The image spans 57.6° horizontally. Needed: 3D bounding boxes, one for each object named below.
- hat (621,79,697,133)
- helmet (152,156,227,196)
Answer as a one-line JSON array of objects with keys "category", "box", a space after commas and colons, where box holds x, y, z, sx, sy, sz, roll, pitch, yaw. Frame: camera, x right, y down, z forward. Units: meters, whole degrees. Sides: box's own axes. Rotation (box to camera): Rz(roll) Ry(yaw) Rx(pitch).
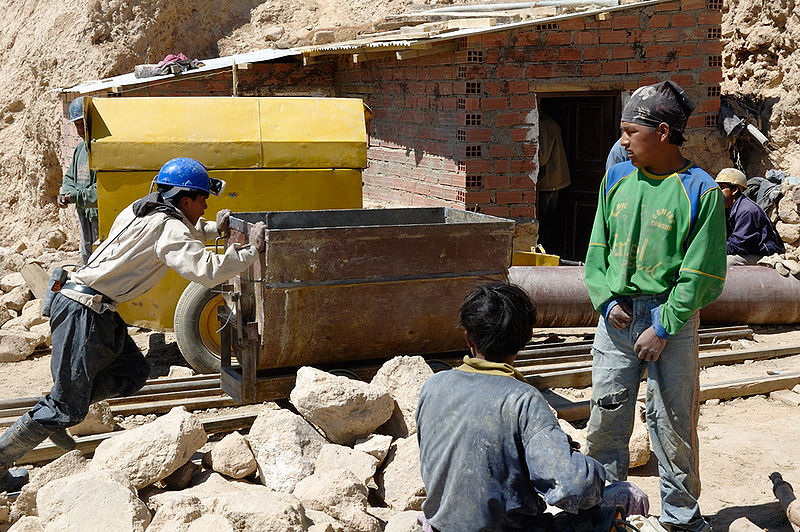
[{"category": "hat", "box": [1.838, -1.130, 5.136, 0.436, 0.367, 0.351, -9, 13, 22]}, {"category": "helmet", "box": [-1.774, -0.817, 6.124, 0.535, 0.296, 0.370, -9, 16, -31]}]
